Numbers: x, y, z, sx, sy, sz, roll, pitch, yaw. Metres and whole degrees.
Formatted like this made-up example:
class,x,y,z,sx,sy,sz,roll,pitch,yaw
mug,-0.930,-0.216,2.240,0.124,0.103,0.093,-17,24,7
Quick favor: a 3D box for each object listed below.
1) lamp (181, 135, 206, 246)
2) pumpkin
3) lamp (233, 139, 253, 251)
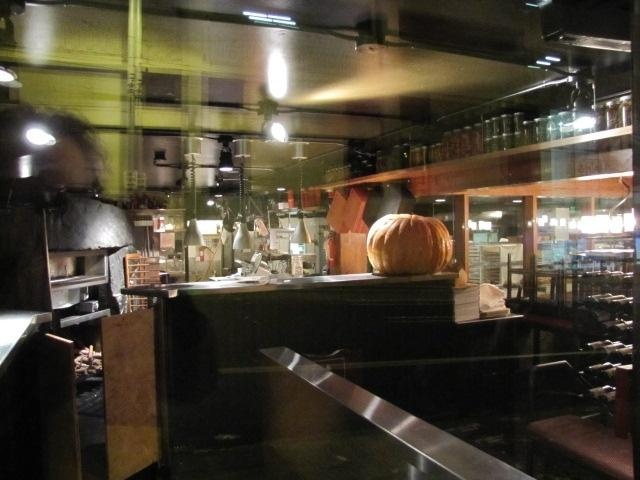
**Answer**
class,x,y,z,sx,sy,sz,roll,pitch,yaw
lamp,-1.192,-0.435,5.352,0.235,1.033,0.238,0,-1,37
pumpkin,0.600,0.032,3.724,0.431,0.324,0.435,0,-2,-7
lamp,-0.864,-0.462,6.359,0.270,1.233,0.291,1,1,25
